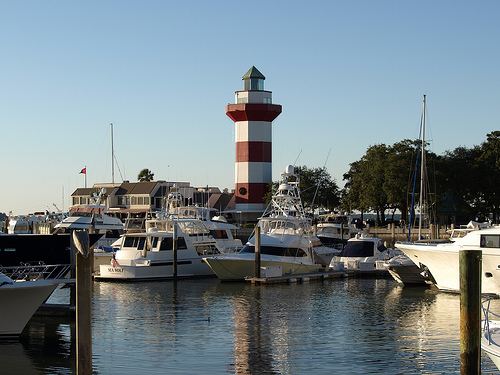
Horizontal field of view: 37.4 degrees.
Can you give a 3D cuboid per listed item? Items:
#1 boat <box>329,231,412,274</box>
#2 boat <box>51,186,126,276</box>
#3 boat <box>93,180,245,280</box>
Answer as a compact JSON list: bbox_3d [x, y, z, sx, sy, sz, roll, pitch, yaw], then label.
[{"bbox_3d":[7.175,4.202,45.089,4.052,2.192,3.263,-1,-4,-42],"label":"boat"},{"bbox_3d":[-10.082,2.543,47.411,3.431,6.035,9.112,-1,-4,14],"label":"boat"},{"bbox_3d":[-4.203,2.648,45.202,7.760,4.411,12.689,1,3,17],"label":"boat"}]
